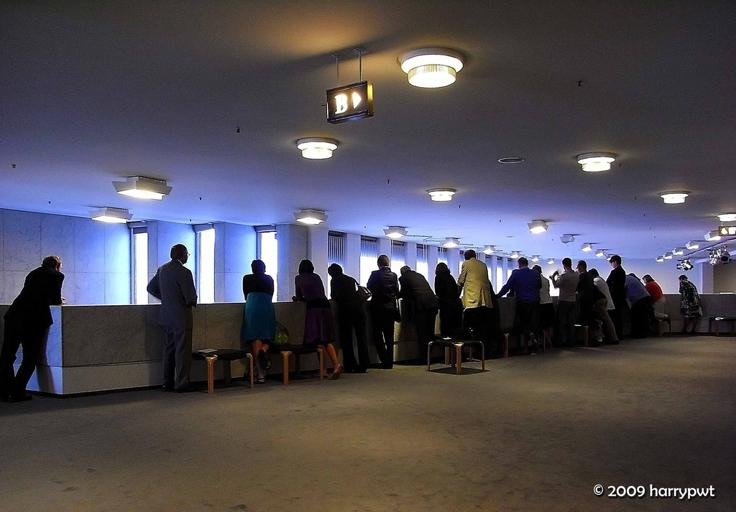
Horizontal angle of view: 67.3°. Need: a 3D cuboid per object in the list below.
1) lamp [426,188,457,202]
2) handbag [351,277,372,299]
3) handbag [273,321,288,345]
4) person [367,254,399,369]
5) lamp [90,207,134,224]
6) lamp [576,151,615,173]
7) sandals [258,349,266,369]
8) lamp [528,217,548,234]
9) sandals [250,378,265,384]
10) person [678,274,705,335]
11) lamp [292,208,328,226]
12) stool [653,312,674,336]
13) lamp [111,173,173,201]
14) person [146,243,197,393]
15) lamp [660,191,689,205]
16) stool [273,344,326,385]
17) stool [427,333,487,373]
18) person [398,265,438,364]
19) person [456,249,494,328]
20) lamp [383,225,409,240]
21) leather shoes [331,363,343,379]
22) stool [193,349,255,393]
[{"bbox_3d":[1.675,-1.421,12.630,0.624,0.202,0.441,-3,-7,6],"label":"lamp"},{"bbox_3d":[-0.157,0.620,10.062,0.141,0.402,0.287,-26,-2,43],"label":"handbag"},{"bbox_3d":[-1.433,1.280,9.017,0.293,0.288,0.280,1,-6,2],"label":"handbag"},{"bbox_3d":[0.255,1.026,10.346,0.587,2.108,0.463,-1,-7,-5],"label":"person"},{"bbox_3d":[-7.044,-1.131,15.126,0.662,0.277,0.699,2,-5,-35],"label":"lamp"},{"bbox_3d":[3.940,-1.642,9.549,0.411,0.145,0.413,2,-4,-5],"label":"lamp"},{"bbox_3d":[-1.693,1.614,8.746,0.107,0.320,0.135,0,-5,-6],"label":"sandals"},{"bbox_3d":[5.317,-0.973,17.325,0.531,0.310,0.750,-5,-8,22],"label":"lamp"},{"bbox_3d":[-1.764,1.958,8.738,0.227,0.068,0.083,-1,-5,31],"label":"sandals"},{"bbox_3d":[9.637,1.418,16.534,0.605,1.758,0.847,-6,-8,32],"label":"person"},{"bbox_3d":[-1.708,-1.113,15.369,0.519,0.271,0.568,0,-2,35],"label":"lamp"},{"bbox_3d":[8.744,1.992,16.361,0.664,0.810,0.697,-8,-12,43],"label":"stool"},{"bbox_3d":[-4.689,-1.446,11.420,1.076,0.388,0.664,1,-8,-23],"label":"lamp"},{"bbox_3d":[-2.850,0.891,8.174,0.762,2.165,0.364,-4,-7,18],"label":"person"},{"bbox_3d":[7.073,-1.373,12.836,0.428,0.140,0.437,-2,-5,38],"label":"lamp"},{"bbox_3d":[-1.159,1.720,9.037,0.651,0.497,0.646,4,-8,-33],"label":"stool"},{"bbox_3d":[1.574,1.751,10.080,0.840,0.645,0.865,2,-1,-43],"label":"stool"},{"bbox_3d":[0.993,1.133,10.915,0.869,1.909,0.900,-7,-8,37],"label":"person"},{"bbox_3d":[2.129,0.704,11.009,0.710,1.644,0.522,4,-9,-43],"label":"person"},{"bbox_3d":[0.922,-0.885,19.246,0.708,0.290,1.029,-1,-7,-4],"label":"lamp"},{"bbox_3d":[-0.536,1.933,9.146,0.122,0.313,0.108,1,22,-16],"label":"leather shoes"},{"bbox_3d":[-2.163,1.716,8.309,0.668,0.507,0.677,-1,-6,14],"label":"stool"}]
